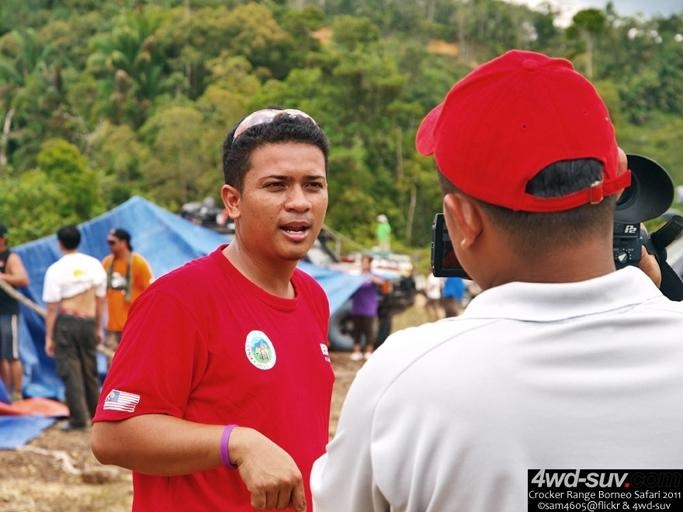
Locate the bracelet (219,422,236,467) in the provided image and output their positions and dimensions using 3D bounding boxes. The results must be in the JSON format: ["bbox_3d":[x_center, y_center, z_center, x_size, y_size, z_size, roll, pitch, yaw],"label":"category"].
[{"bbox_3d":[-0.647,1.113,7.246,0.062,0.186,0.135,-1,6,-4],"label":"bracelet"}]

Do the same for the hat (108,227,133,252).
[{"bbox_3d":[-2.045,-0.193,11.747,0.164,0.240,0.243,4,-25,-1],"label":"hat"}]
